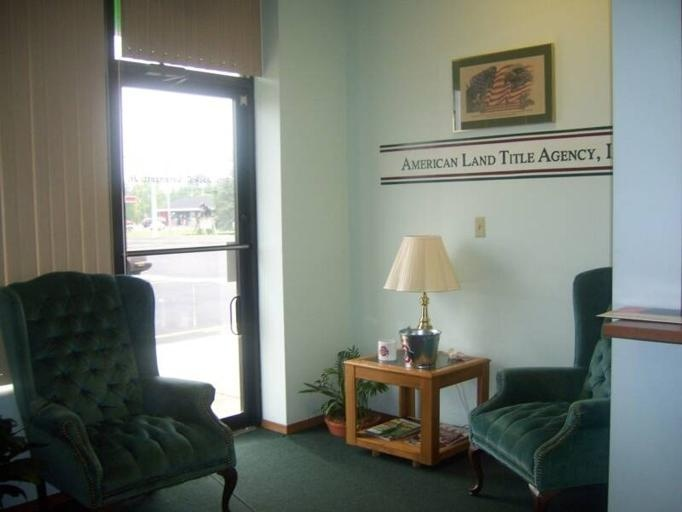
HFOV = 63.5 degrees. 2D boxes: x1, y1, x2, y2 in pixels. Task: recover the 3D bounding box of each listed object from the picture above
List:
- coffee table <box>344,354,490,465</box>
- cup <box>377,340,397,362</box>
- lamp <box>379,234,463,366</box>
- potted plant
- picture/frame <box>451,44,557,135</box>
[{"bbox_3d":[0.509,0.978,3.712,0.771,0.593,0.793,0,2,28],"label":"coffee table"},{"bbox_3d":[0.300,0.629,3.654,0.113,0.117,0.131,2,2,-19],"label":"cup"},{"bbox_3d":[0.524,0.248,3.892,0.702,1.233,0.681,0,8,4],"label":"lamp"},{"bbox_3d":[0.059,0.961,3.987,0.589,0.547,0.581,4,-6,-42],"label":"potted plant"},{"bbox_3d":[1.073,-1.073,3.543,0.650,0.484,0.025,-1,2,36],"label":"picture/frame"}]
